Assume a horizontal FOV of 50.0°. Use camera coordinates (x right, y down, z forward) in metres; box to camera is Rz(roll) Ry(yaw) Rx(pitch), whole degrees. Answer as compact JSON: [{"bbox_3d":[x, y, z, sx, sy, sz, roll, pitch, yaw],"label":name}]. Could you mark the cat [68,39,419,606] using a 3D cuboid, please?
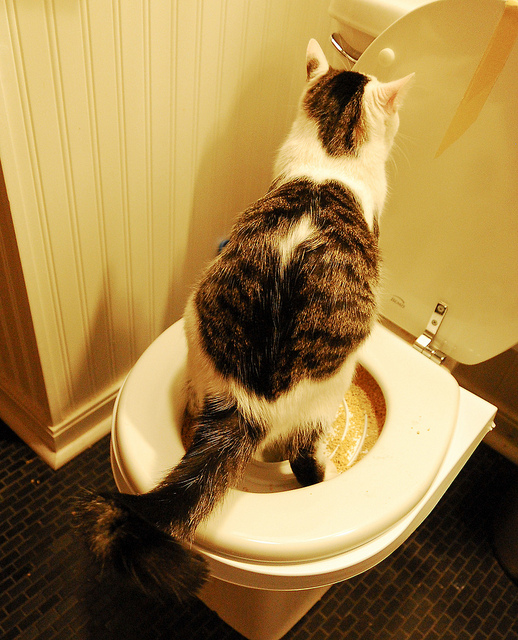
[{"bbox_3d":[0.024,-0.013,0.690,0.301,0.499,0.626,26,42,14],"label":"cat"}]
